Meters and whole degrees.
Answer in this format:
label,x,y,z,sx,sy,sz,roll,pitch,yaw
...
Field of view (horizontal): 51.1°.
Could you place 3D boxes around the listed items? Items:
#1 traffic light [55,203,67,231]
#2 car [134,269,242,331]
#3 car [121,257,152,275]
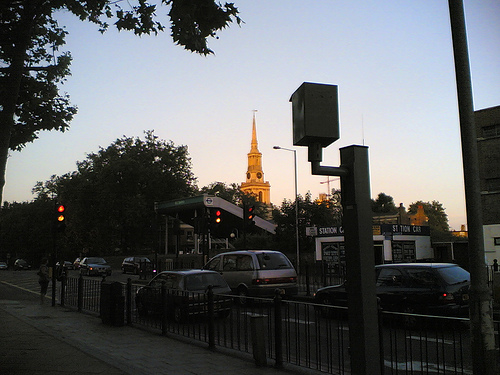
label,x,y,z,sx,sy,sz,roll,pitch,yaw
traffic light,-7.234,1.102,20.015,0.385,1.115,0.882,3,-11,-21
car,-1.737,3.020,14.255,1.473,1.169,2.658,6,-5,-37
car,-9.953,6.519,43.948,1.865,1.585,3.543,6,-14,-40
